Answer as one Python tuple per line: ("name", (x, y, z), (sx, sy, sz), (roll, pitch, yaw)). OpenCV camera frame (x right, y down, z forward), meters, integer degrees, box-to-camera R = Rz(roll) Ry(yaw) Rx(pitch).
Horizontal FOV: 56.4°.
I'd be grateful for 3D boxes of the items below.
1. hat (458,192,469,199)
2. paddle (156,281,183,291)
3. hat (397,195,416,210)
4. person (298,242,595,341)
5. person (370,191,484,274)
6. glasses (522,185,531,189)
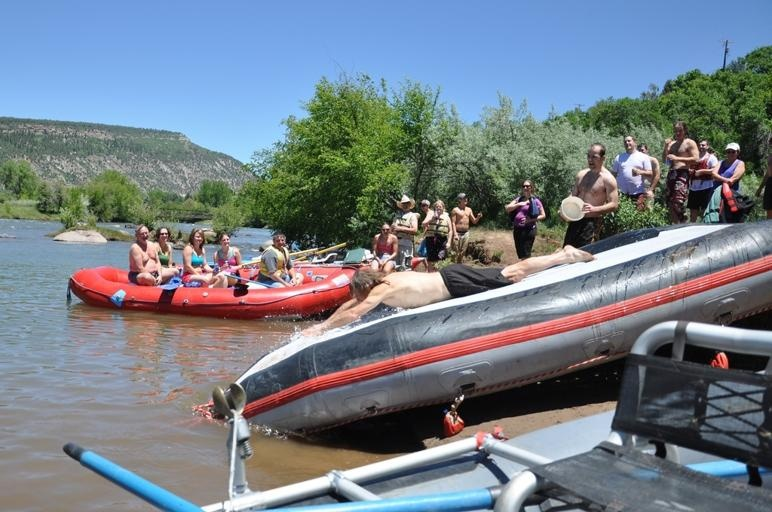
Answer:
("hat", (1.602, -1.260, 15.193), (0.278, 0.087, 0.275), (-3, -1, 1))
("paddle", (-4.053, 0.558, 13.658), (0.249, 0.079, 0.243), (-33, 43, -27))
("hat", (0.428, -1.165, 15.216), (0.358, 0.164, 0.414), (-5, -21, 4))
("person", (0.779, 0.265, 8.165), (2.970, 0.604, 1.282), (-14, 5, 5))
("person", (1.021, -0.571, 16.971), (2.671, 1.196, 0.779), (-11, 15, -14))
("glasses", (2.386, -1.174, 12.256), (0.147, 0.055, 0.160), (2, 4, 32))
